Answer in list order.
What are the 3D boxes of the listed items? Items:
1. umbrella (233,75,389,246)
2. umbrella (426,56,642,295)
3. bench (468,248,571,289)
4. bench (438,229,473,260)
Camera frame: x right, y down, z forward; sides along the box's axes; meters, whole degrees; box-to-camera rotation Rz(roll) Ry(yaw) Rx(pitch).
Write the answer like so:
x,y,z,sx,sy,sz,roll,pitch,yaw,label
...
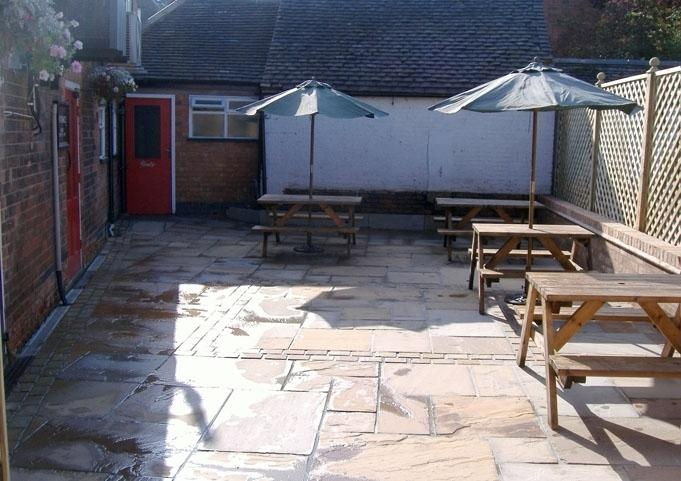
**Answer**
x,y,z,sx,sy,sz,roll,pitch,yaw,label
-0.411,-1.334,10.573,3.700,2.887,3.427,0,10,0,umbrella
2.341,-1.120,7.265,2.636,2.276,2.317,-1,10,2,umbrella
2.945,0.358,8.512,1.228,0.522,1.010,-1,3,0,bench
2.272,0.213,10.380,0.620,0.309,1.395,0,6,4,bench
